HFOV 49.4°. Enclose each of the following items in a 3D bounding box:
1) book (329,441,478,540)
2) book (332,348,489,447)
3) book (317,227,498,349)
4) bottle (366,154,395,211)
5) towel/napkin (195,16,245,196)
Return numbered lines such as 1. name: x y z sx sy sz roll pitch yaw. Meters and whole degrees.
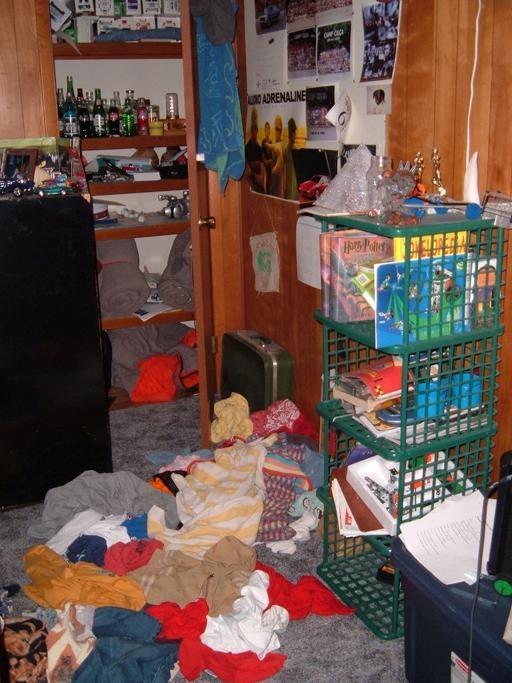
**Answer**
1. book: 0.378 0.345 1.370 0.323 0.103 0.225 -12 23 -23
2. book: 0.416 0.104 1.336 0.281 0.089 0.212 -12 22 -26
3. book: 0.344 -0.111 1.282 0.325 0.203 0.320 -13 22 -24
4. bottle: 0.274 -0.353 1.250 0.051 0.132 0.169 5 11 10
5. towel/napkin: -0.147 -0.944 2.241 0.214 0.622 0.121 2 11 -7
